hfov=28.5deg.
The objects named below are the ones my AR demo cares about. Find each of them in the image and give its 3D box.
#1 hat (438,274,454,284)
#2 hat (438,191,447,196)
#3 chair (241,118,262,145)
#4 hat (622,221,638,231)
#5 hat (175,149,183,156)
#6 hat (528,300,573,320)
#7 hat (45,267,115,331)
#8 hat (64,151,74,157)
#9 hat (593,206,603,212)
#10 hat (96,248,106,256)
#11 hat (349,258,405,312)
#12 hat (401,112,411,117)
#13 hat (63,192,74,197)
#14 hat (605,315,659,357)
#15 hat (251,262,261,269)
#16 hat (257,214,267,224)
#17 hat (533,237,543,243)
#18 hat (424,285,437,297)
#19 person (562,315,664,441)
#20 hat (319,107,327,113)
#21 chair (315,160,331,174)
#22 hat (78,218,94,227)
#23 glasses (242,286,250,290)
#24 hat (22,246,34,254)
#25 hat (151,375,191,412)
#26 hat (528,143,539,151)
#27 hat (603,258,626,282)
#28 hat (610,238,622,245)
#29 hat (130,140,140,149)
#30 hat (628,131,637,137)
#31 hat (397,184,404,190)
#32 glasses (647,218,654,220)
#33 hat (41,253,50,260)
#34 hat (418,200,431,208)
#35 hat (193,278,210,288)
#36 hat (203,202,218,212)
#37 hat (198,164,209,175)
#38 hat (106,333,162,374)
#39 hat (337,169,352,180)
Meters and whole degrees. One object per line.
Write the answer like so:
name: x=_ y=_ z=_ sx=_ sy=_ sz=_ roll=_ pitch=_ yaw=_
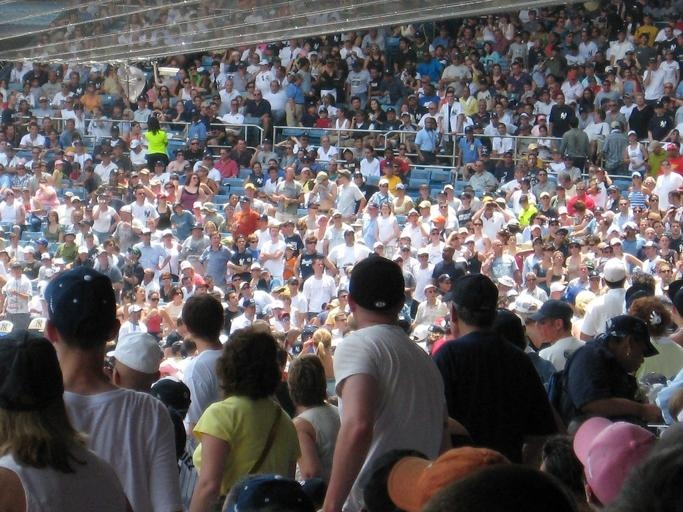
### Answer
hat: x=1.291 y=0.290 z=16.930 sx=0.151 sy=0.142 sz=0.121 roll=-6 pitch=0 yaw=32
hat: x=1.429 y=-0.903 z=19.343 sx=0.076 sy=0.051 sz=0.106 roll=3 pitch=-4 yaw=9
chair: x=-1.561 y=-2.159 z=23.458 sx=0.389 sy=0.492 sz=0.428 roll=1 pitch=7 yaw=-4
hat: x=3.699 y=-0.385 z=17.190 sx=0.163 sy=0.047 sz=0.106 roll=14 pitch=-8 yaw=-38
hat: x=-2.686 y=-1.703 z=22.155 sx=0.096 sy=0.113 sz=0.124 roll=0 pitch=-13 yaw=-16
hat: x=1.671 y=0.435 z=10.694 sx=0.234 sy=0.110 sz=0.161 roll=3 pitch=0 yaw=8
hat: x=-1.662 y=0.263 z=8.595 sx=0.320 sy=0.264 sz=0.450 roll=-8 pitch=44 yaw=-24
hat: x=-2.420 y=-0.906 z=11.935 sx=0.085 sy=0.042 sz=0.062 roll=-5 pitch=4 yaw=10
hat: x=3.479 y=-0.640 z=18.305 sx=0.135 sy=0.095 sz=0.256 roll=-1 pitch=-6 yaw=12
hat: x=-2.122 y=-0.040 z=11.827 sx=0.062 sy=0.081 sz=0.199 roll=2 pitch=-6 yaw=-27
hat: x=0.231 y=0.208 z=9.058 sx=0.314 sy=0.229 sz=0.396 roll=0 pitch=32 yaw=-4
hat: x=1.061 y=-2.395 z=22.720 sx=0.153 sy=0.072 sz=0.245 roll=0 pitch=-3 yaw=10
hat: x=-2.517 y=-0.570 z=12.375 sx=0.059 sy=0.025 sz=0.083 roll=7 pitch=5 yaw=-12
hat: x=2.116 y=0.541 z=9.750 sx=0.376 sy=0.204 sz=0.251 roll=18 pitch=6 yaw=-9
hat: x=-1.150 y=0.128 z=17.950 sx=0.097 sy=0.086 sz=0.094 roll=1 pitch=-2 yaw=-13
hat: x=-1.199 y=-0.543 z=19.297 sx=0.137 sy=0.094 sz=0.215 roll=9 pitch=-1 yaw=-15
hat: x=2.495 y=-0.207 z=17.225 sx=0.077 sy=0.051 sz=0.100 roll=0 pitch=-9 yaw=3
hat: x=1.068 y=0.404 z=16.402 sx=0.103 sy=0.114 sz=0.126 roll=0 pitch=-11 yaw=-8
person: x=1.968 y=0.837 z=9.750 sx=0.744 sy=1.212 sz=0.780 roll=-1 pitch=3 yaw=3
hat: x=-0.338 y=-2.543 z=23.490 sx=0.093 sy=0.115 sz=0.116 roll=1 pitch=-3 yaw=14
chair: x=-0.331 y=-1.486 z=22.261 sx=0.278 sy=0.269 sz=0.203 roll=1 pitch=9 yaw=4
hat: x=-2.273 y=-0.300 z=11.899 sx=0.125 sy=0.063 sz=0.072 roll=23 pitch=9 yaw=0
glasses: x=-1.209 y=0.393 z=16.955 sx=0.048 sy=0.060 sz=0.063 roll=4 pitch=3 yaw=-15
hat: x=-3.273 y=-0.068 z=14.028 sx=0.104 sy=0.051 sz=0.076 roll=6 pitch=2 yaw=-16
hat: x=-1.220 y=0.985 z=9.562 sx=0.195 sy=0.141 sz=0.312 roll=20 pitch=-33 yaw=39
hat: x=2.978 y=-1.701 z=21.026 sx=0.154 sy=0.074 sz=0.213 roll=-8 pitch=3 yaw=7
hat: x=2.495 y=0.149 z=12.359 sx=0.167 sy=0.249 sz=0.137 roll=-1 pitch=-49 yaw=18
hat: x=3.435 y=-0.182 z=16.964 sx=0.126 sy=0.121 sz=0.310 roll=-2 pitch=-6 yaw=13
hat: x=-1.819 y=-0.971 z=11.760 sx=0.073 sy=0.093 sz=0.054 roll=-3 pitch=-17 yaw=37
hat: x=4.373 y=-1.847 z=20.351 sx=0.161 sy=0.079 sz=0.223 roll=0 pitch=-3 yaw=12
hat: x=0.866 y=-1.031 z=20.191 sx=0.091 sy=0.098 sz=0.115 roll=3 pitch=17 yaw=9
glasses: x=4.045 y=-0.487 z=17.719 sx=0.040 sy=0.028 sz=0.039 roll=0 pitch=-13 yaw=2
hat: x=-2.994 y=0.003 z=13.570 sx=0.101 sy=0.045 sz=0.142 roll=-1 pitch=-5 yaw=-1
hat: x=1.183 y=-0.729 z=19.103 sx=0.105 sy=0.069 sz=0.146 roll=10 pitch=-9 yaw=45
hat: x=-1.855 y=0.349 z=17.652 sx=0.129 sy=0.118 sz=0.130 roll=-6 pitch=-13 yaw=39
hat: x=-1.948 y=-0.722 z=19.803 sx=0.166 sy=0.062 sz=0.178 roll=19 pitch=5 yaw=-34
hat: x=-2.255 y=-1.404 z=21.942 sx=0.122 sy=0.147 sz=0.144 roll=13 pitch=-10 yaw=15
hat: x=-1.457 y=0.653 z=9.380 sx=0.227 sy=0.170 sz=0.330 roll=0 pitch=18 yaw=-37
hat: x=0.031 y=-1.259 z=20.511 sx=0.130 sy=0.163 sz=0.164 roll=0 pitch=-12 yaw=31
